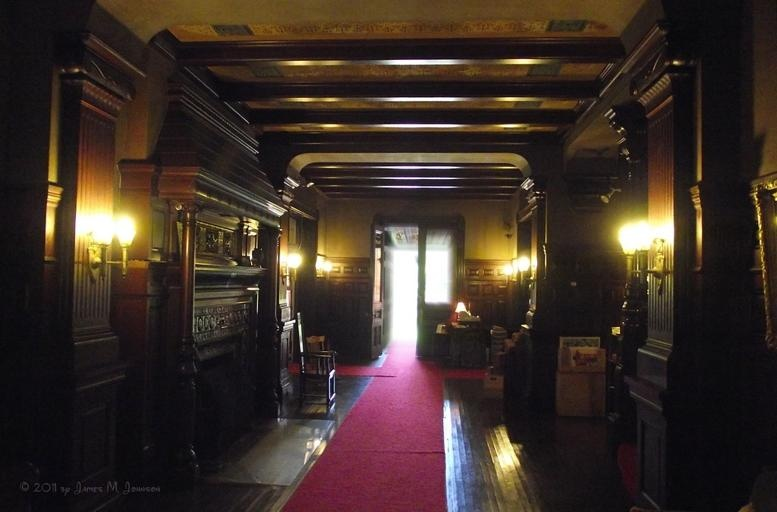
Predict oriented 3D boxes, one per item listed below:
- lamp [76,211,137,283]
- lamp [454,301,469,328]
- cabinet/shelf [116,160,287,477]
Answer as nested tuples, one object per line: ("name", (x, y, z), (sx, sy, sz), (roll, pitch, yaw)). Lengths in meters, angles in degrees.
("lamp", (-3.028, -0.108, 6.667), (0.438, 0.733, 0.760), (1, 5, -2))
("lamp", (1.767, 1.405, 14.713), (0.450, 0.694, 0.467), (1, -11, -3))
("cabinet/shelf", (-2.507, 0.863, 7.931), (1.274, 3.934, 4.087), (0, -3, 0))
